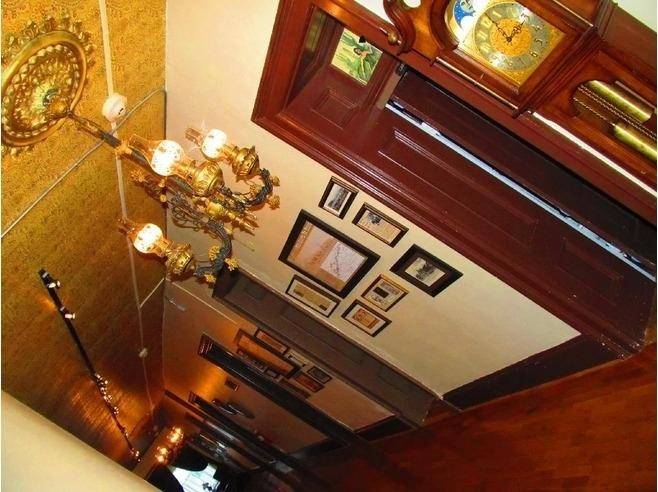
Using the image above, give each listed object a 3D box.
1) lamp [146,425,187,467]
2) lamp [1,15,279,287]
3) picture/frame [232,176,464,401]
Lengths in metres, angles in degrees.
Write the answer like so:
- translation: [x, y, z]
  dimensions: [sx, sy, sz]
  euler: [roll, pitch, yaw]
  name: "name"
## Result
- translation: [-3.823, 4.731, 11.435]
  dimensions: [0.303, 0.683, 0.936]
  euler: [20, -53, -29]
  name: "lamp"
- translation: [-1.251, -0.592, 2.984]
  dimensions: [1.799, 1.080, 0.812]
  euler: [32, -50, 12]
  name: "lamp"
- translation: [0.226, 0.381, 4.665]
  dimensions: [2.354, 0.127, 2.731]
  euler: [34, -26, -2]
  name: "picture/frame"
